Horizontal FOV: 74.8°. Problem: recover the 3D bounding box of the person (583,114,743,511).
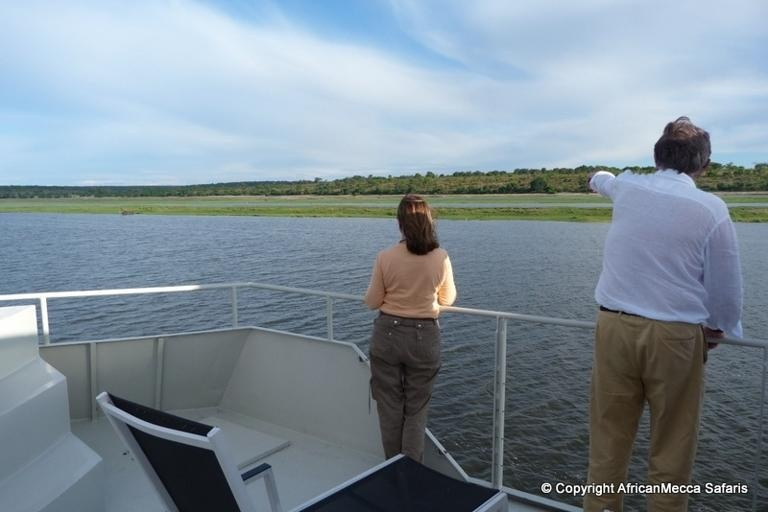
[{"bbox_3d":[2.096,0.479,3.774,0.906,3.012,0.863,4,12,33],"label":"person"}]
